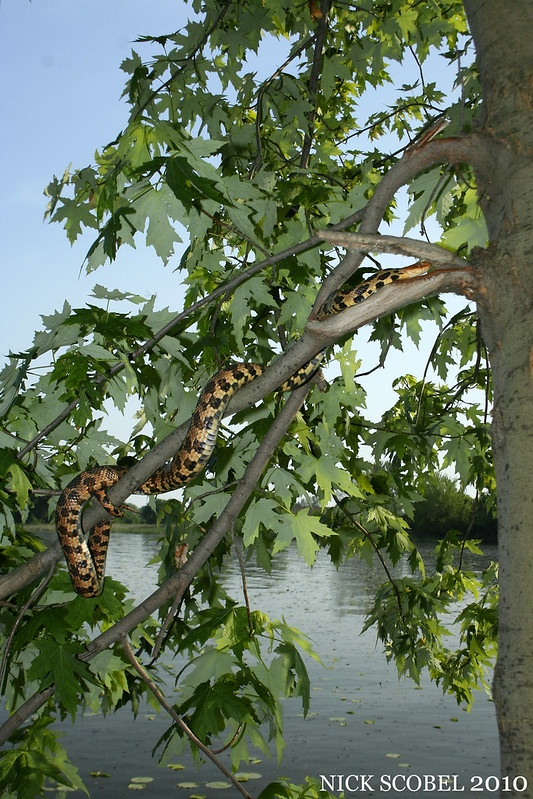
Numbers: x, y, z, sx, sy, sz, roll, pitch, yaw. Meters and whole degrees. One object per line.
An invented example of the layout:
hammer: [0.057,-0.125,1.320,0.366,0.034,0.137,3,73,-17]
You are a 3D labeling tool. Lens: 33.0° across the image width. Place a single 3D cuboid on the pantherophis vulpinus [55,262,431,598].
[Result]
pantherophis vulpinus: [-0.396,0.216,5.683,2.006,2.052,1.255,-4,-7,14]
